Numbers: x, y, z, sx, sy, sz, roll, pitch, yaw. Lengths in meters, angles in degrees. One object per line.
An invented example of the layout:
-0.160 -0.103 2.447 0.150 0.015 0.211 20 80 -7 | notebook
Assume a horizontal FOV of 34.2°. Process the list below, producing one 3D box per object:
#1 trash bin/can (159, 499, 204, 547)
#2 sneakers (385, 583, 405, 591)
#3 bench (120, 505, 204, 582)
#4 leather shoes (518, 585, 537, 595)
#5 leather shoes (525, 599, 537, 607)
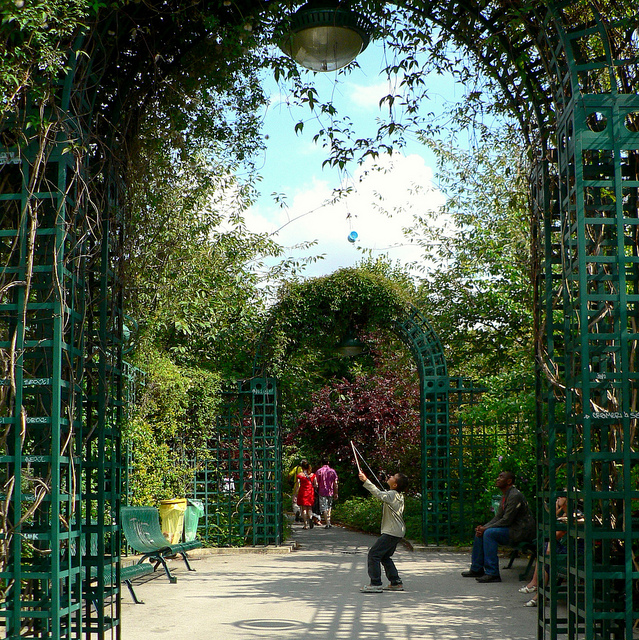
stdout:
-1.771 2.526 13.331 0.522 0.691 0.635 -2 -6 6 | trash bin/can
0.699 2.479 9.702 0.160 0.081 0.075 1 -7 22 | sneakers
-1.532 2.161 10.097 0.506 0.725 1.329 -8 -9 4 | bench
1.858 2.400 9.269 0.121 0.056 0.073 9 -18 0 | leather shoes
1.782 2.374 8.700 0.040 0.052 0.112 -13 -25 36 | leather shoes
